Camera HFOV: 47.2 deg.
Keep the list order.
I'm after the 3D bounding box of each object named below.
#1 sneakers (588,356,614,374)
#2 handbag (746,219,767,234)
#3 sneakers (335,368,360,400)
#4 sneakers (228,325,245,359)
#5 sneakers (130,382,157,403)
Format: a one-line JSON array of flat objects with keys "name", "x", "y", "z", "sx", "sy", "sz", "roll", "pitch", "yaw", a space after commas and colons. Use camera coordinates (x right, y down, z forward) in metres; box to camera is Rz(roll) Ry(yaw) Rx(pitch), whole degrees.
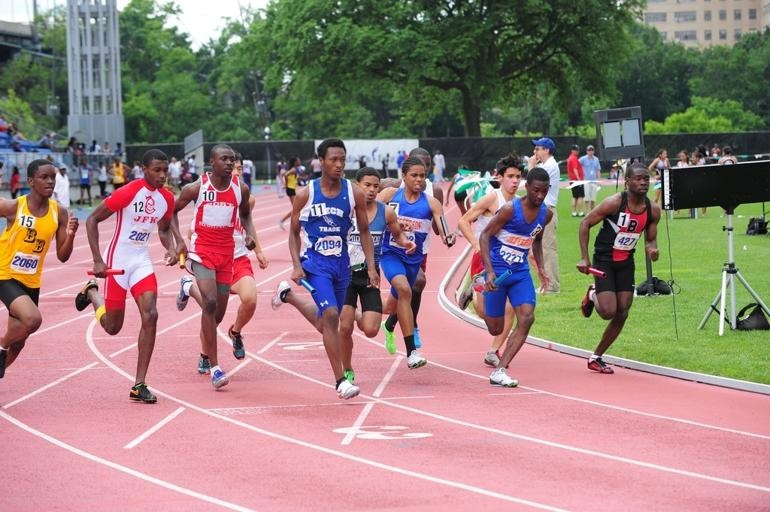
[{"name": "sneakers", "x": 2.731, "y": 1.419, "z": 11.228, "sx": 0.369, "sy": 0.159, "sz": 0.148, "roll": 10, "pitch": 34, "yaw": 18}, {"name": "handbag", "x": 8.860, "y": -0.684, "z": 20.951, "sx": 0.440, "sy": 0.528, "sz": 0.596, "roll": -3, "pitch": -6, "yaw": 24}, {"name": "sneakers", "x": -0.434, "y": 1.496, "z": 9.996, "sx": 0.187, "sy": 0.193, "sz": 0.456, "roll": 0, "pitch": -8, "yaw": -11}, {"name": "sneakers", "x": -2.008, "y": 1.181, "z": 11.847, "sx": 0.170, "sy": 0.498, "sz": 0.223, "roll": -11, "pitch": -7, "yaw": -28}, {"name": "sneakers", "x": -2.804, "y": 1.605, "z": 10.208, "sx": 0.393, "sy": 0.164, "sz": 0.161, "roll": -1, "pitch": -2, "yaw": 35}]
